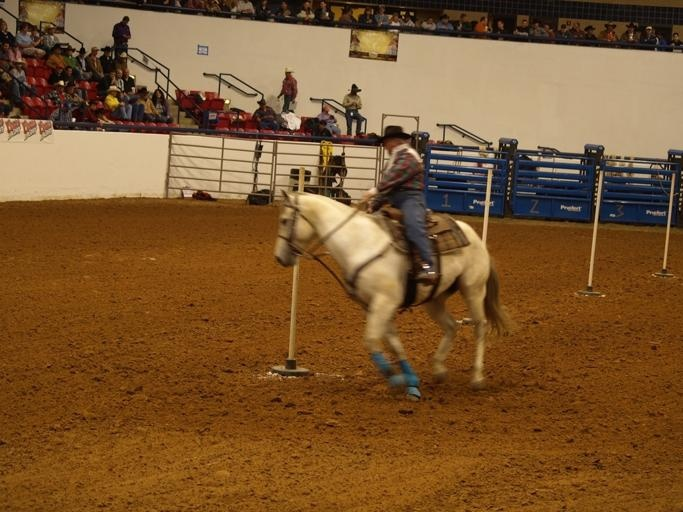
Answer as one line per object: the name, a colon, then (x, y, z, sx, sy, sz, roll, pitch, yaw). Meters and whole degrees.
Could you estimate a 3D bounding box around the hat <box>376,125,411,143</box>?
hat: (0.533, -1.323, 9.550, 0.250, 0.079, 0.269, -4, 3, -41)

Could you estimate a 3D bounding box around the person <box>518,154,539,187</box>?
person: (5.425, -2.499, 25.600, 0.717, 1.017, 0.761, 4, 16, 10)

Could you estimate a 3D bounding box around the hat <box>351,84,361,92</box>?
hat: (0.532, -5.928, 31.194, 0.416, 0.120, 0.391, 9, -12, -39)
